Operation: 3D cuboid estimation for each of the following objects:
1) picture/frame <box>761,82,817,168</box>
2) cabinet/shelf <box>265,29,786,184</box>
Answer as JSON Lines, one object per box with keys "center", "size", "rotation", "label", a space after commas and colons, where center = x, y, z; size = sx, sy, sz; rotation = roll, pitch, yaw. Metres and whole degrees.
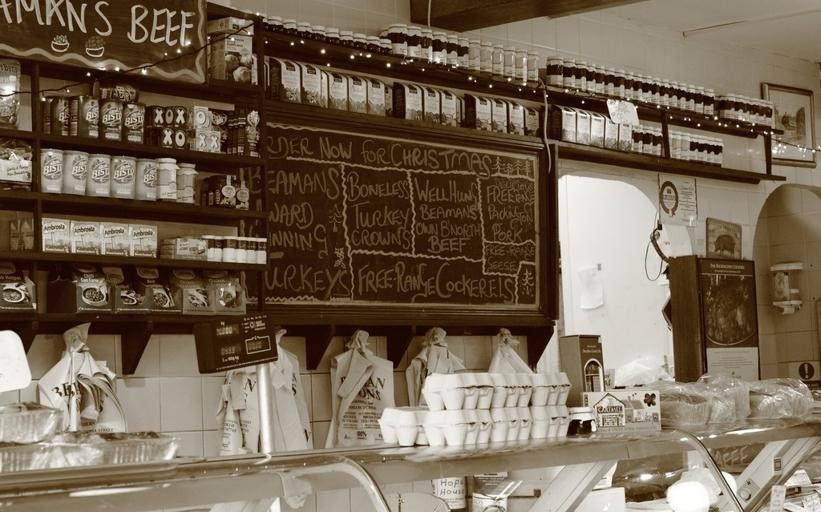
{"center": [3.738, -1.281, 10.170], "size": [0.744, 0.880, 0.079], "rotation": [8, -9, -35], "label": "picture/frame"}
{"center": [1.080, -1.120, 8.407], "size": [4.834, 0.780, 0.494], "rotation": [4, -3, -24], "label": "cabinet/shelf"}
